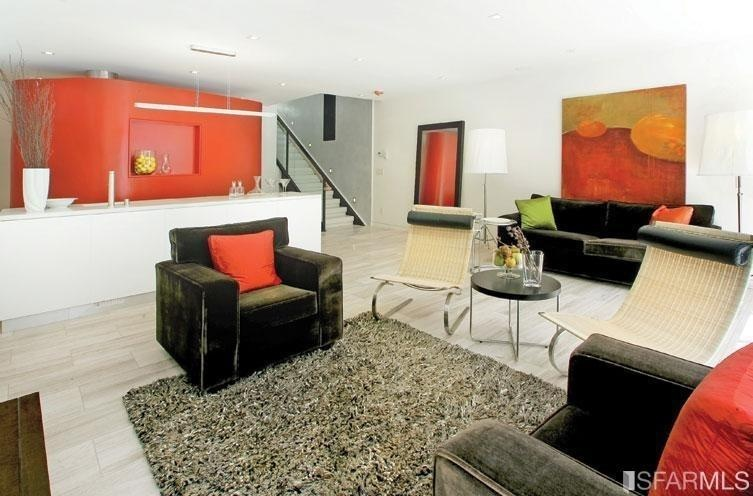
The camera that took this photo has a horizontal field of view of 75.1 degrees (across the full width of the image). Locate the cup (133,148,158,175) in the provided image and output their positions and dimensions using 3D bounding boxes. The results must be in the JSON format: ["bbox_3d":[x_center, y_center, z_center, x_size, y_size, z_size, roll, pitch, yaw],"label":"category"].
[{"bbox_3d":[-3.260,-1.218,6.942,0.333,0.337,0.328,1,-1,0],"label":"cup"}]

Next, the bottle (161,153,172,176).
[{"bbox_3d":[-3.166,-1.251,7.301,0.133,0.296,0.566,-7,14,-21],"label":"bottle"}]

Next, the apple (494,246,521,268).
[{"bbox_3d":[1.246,0.091,4.574,0.215,0.227,0.272,10,17,41],"label":"apple"}]

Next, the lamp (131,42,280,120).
[{"bbox_3d":[-2.434,-2.267,6.887,1.481,0.797,1.924,-5,13,-15],"label":"lamp"}]

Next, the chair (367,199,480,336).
[{"bbox_3d":[0.658,0.085,5.323,1.094,1.451,1.356,7,19,28],"label":"chair"}]

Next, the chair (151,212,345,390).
[{"bbox_3d":[-1.184,0.535,4.588,1.774,1.469,1.296,-4,5,-44],"label":"chair"}]

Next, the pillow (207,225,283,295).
[{"bbox_3d":[-1.182,0.119,4.498,0.560,0.476,0.289,-15,31,-39],"label":"pillow"}]

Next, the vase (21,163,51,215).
[{"bbox_3d":[-3.376,-0.572,4.845,0.236,0.430,0.207,-10,16,-33],"label":"vase"}]

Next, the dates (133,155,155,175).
[{"bbox_3d":[-3.285,-1.165,6.956,0.264,0.256,0.260,1,2,-11],"label":"dates"}]
